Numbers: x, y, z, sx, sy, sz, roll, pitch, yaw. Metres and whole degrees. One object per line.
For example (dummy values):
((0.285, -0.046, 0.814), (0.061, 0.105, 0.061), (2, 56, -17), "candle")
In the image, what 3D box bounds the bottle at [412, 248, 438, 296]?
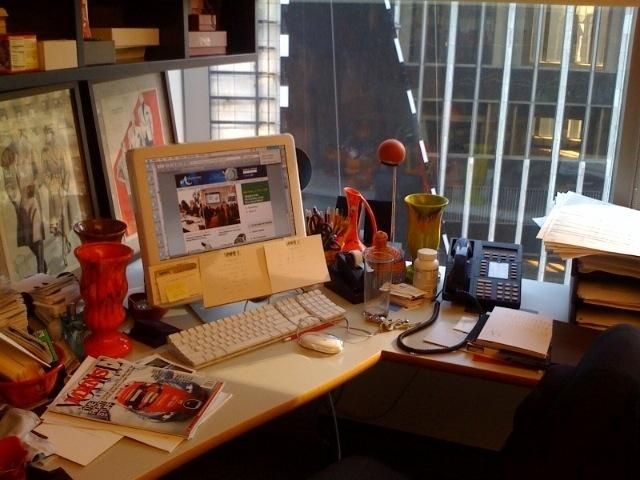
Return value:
((0.367, 0.118, 1.651), (0.094, 0.164, 0.094), (-1, 18, 0), "bottle")

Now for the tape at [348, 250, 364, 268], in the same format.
((0.125, 0.063, 1.567), (0.039, 0.061, 0.053), (-7, 18, -20), "tape")

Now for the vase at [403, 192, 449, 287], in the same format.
((0.393, -0.020, 1.782), (0.160, 0.253, 0.156), (1, 15, 5), "vase")

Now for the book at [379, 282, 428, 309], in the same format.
((0.290, 0.185, 1.570), (0.102, 0.033, 0.105), (-12, 28, -28), "book")

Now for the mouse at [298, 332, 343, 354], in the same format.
((0.011, 0.276, 1.322), (0.091, 0.027, 0.056), (11, 25, 22), "mouse")

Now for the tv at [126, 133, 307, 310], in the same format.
((-0.317, -0.079, 1.470), (0.527, 0.445, 0.167), (-13, 11, -35), "tv")

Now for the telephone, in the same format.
((0.573, 0.106, 1.636), (0.277, 0.122, 0.324), (2, 31, 10), "telephone")

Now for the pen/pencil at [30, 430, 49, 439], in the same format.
((-0.599, 0.416, 1.011), (0.018, 0.005, 0.017), (14, 20, 20), "pen/pencil")

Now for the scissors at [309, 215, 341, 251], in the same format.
((0.014, -0.025, 1.682), (0.102, 0.128, 0.065), (-6, 18, -8), "scissors")
